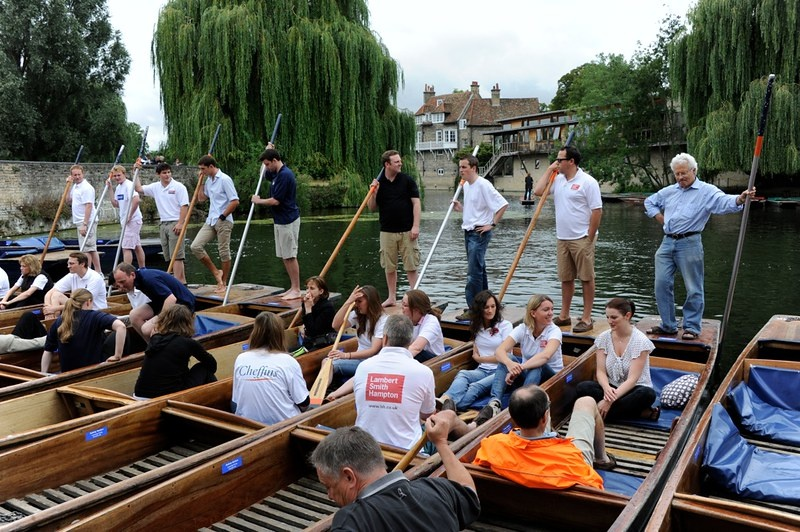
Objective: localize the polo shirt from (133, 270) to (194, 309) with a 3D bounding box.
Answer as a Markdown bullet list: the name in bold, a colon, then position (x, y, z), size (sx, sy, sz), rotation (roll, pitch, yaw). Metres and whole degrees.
- **polo shirt**: position (-2.973, 0.294, 9.035), size (0.634, 0.514, 0.530), rotation (14, 32, -6)

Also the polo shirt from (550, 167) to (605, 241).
- **polo shirt**: position (2.217, -0.795, 8.990), size (0.599, 0.902, 0.302), rotation (2, 6, 21)

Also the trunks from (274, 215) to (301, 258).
- **trunks**: position (-1.773, -0.395, 11.056), size (0.469, 0.919, 0.714), rotation (0, 0, -15)

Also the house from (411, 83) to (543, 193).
- **house**: position (10.045, -14.213, 70.829), size (5.010, 7.889, 9.628), rotation (32, 28, 34)

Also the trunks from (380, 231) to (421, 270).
- **trunks**: position (-0.009, -0.239, 10.144), size (0.587, 0.788, 0.291), rotation (-2, 3, 2)

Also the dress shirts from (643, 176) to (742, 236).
- **dress shirts**: position (3.530, -0.737, 8.649), size (1.131, 0.690, 0.394), rotation (3, 6, 29)

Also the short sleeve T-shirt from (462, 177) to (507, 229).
- **short sleeve T-shirt**: position (1.039, -0.845, 9.747), size (0.428, 0.754, 0.801), rotation (-5, 7, -38)
